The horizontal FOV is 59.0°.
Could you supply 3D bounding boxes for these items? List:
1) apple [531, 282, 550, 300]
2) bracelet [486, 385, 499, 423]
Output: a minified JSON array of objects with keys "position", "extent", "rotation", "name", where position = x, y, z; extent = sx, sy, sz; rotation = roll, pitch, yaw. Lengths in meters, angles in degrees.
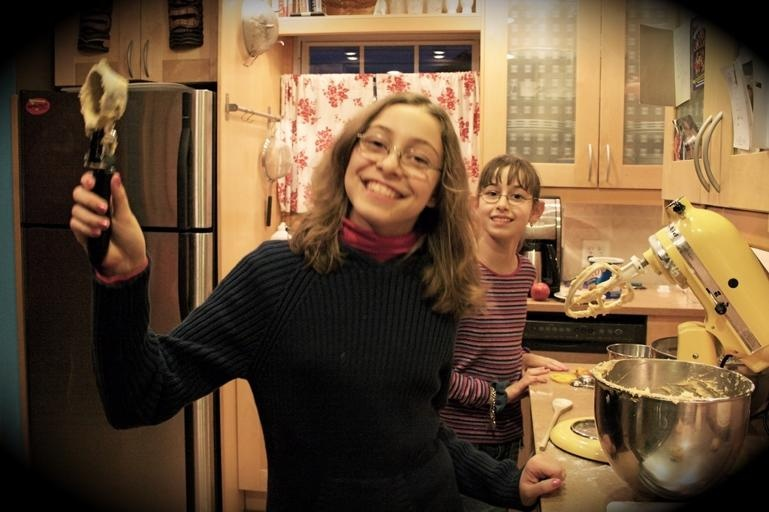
[{"position":[0.841,0.192,3.686],"extent":[0.093,0.092,0.093],"rotation":[-15,0,6],"name":"apple"},{"position":[0.420,0.555,2.541],"extent":[0.039,0.115,0.091],"rotation":[7,-5,25],"name":"bracelet"}]
